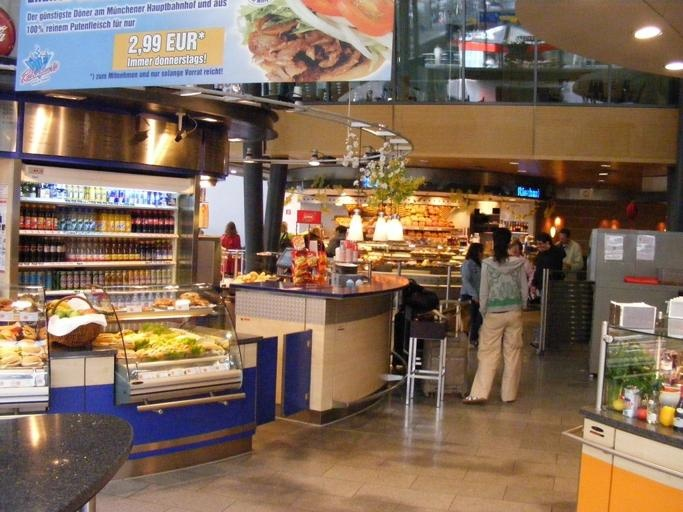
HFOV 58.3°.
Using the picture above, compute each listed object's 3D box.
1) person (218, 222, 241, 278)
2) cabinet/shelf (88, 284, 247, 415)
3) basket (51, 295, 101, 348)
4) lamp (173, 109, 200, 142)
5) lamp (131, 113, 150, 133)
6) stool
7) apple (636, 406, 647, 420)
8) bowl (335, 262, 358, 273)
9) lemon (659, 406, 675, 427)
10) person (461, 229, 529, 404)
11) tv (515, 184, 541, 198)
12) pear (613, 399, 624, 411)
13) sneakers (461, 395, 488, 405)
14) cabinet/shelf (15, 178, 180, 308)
[{"bbox_3d":[-2.497,-0.026,13.936,0.535,1.410,0.589,1,8,23],"label":"person"},{"bbox_3d":[-1.410,0.772,5.065,1.040,0.760,1.111,-1,3,-29],"label":"cabinet/shelf"},{"bbox_3d":[-2.197,0.521,5.021,0.490,0.363,0.626,-4,13,-23],"label":"basket"},{"bbox_3d":[-2.024,-1.628,7.835,0.269,0.348,0.778,2,6,-2],"label":"lamp"},{"bbox_3d":[-2.417,-1.625,7.463,0.047,0.183,0.195,6,5,39],"label":"lamp"},{"bbox_3d":[1.030,1.263,7.402,0.460,1.009,0.699,3,6,10],"label":"stool"},{"bbox_3d":[1.858,0.976,3.786,0.071,0.072,0.069,-5,-9,33],"label":"apple"},{"bbox_3d":[0.066,0.156,7.636,0.259,0.119,0.458,4,7,18],"label":"bowl"},{"bbox_3d":[1.953,0.966,3.681,0.101,0.137,0.104,4,-5,23],"label":"lemon"},{"bbox_3d":[1.859,0.730,7.304,0.703,2.104,0.402,2,6,1],"label":"person"},{"bbox_3d":[5.252,-1.794,17.253,0.304,0.375,1.723,6,7,30],"label":"tv"},{"bbox_3d":[1.761,0.954,3.893,0.061,0.065,0.063,2,4,36],"label":"pear"},{"bbox_3d":[1.569,1.703,7.242,0.277,0.121,0.102,2,-4,6],"label":"sneakers"},{"bbox_3d":[-3.162,-0.306,8.049,1.835,1.757,0.652,0,27,-26],"label":"cabinet/shelf"}]
